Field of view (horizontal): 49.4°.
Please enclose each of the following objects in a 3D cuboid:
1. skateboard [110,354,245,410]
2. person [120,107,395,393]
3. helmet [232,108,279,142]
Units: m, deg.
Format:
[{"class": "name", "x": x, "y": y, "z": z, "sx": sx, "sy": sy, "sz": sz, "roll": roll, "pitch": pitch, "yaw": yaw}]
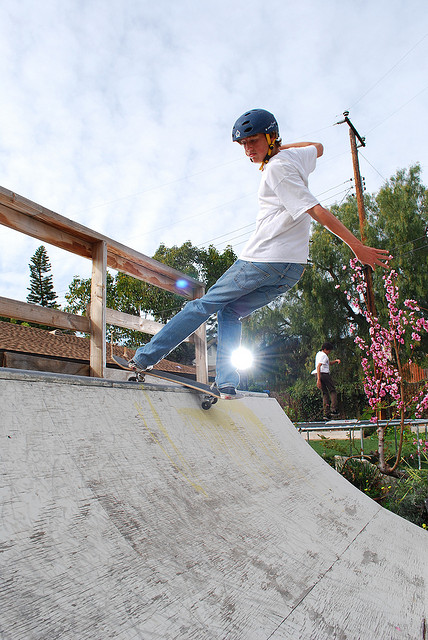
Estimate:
[{"class": "skateboard", "x": -0.189, "y": 0.323, "z": 2.403, "sx": 0.667, "sy": 0.266, "sz": 0.420, "roll": 2, "pitch": -7, "yaw": -14}, {"class": "person", "x": 0.229, "y": -0.348, "z": 2.356, "sx": 1.162, "sy": 1.432, "sz": 0.452, "roll": -3, "pitch": -7, "yaw": 21}, {"class": "helmet", "x": 0.199, "y": -0.935, "z": 2.295, "sx": 0.169, "sy": 0.131, "sz": 0.125, "roll": -26, "pitch": 31, "yaw": -19}]
